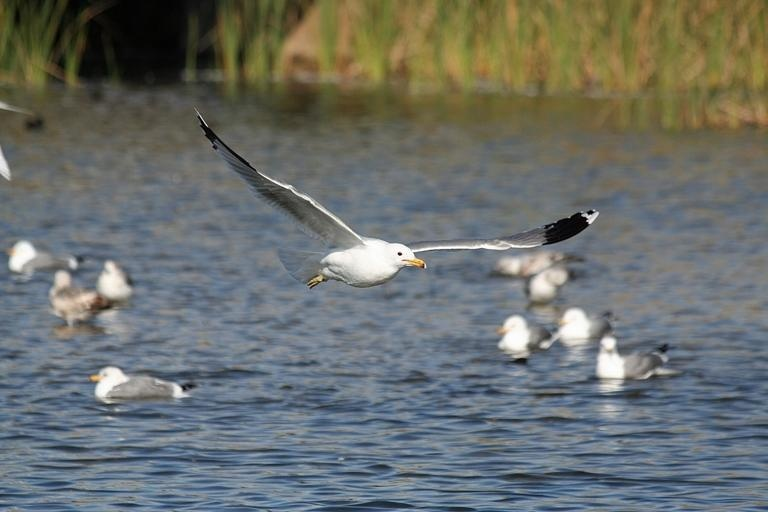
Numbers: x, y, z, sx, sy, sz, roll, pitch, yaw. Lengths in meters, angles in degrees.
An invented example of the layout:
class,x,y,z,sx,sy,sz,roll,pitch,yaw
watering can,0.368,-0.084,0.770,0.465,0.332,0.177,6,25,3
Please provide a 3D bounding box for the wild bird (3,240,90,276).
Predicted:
class,x,y,z,sx,sy,sz,roll,pitch,yaw
wild bird,-5.718,0.019,23.363,1.113,0.563,0.481,-8,58,-14

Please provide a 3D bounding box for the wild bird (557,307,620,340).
class,x,y,z,sx,sy,sz,roll,pitch,yaw
wild bird,3.050,1.030,20.967,0.834,0.465,0.642,3,15,5

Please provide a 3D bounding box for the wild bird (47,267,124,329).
class,x,y,z,sx,sy,sz,roll,pitch,yaw
wild bird,-4.717,0.599,21.322,1.290,0.721,0.652,0,25,-38

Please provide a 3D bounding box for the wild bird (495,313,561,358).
class,x,y,z,sx,sy,sz,roll,pitch,yaw
wild bird,2.159,1.146,20.633,0.714,0.573,1.074,3,20,42
